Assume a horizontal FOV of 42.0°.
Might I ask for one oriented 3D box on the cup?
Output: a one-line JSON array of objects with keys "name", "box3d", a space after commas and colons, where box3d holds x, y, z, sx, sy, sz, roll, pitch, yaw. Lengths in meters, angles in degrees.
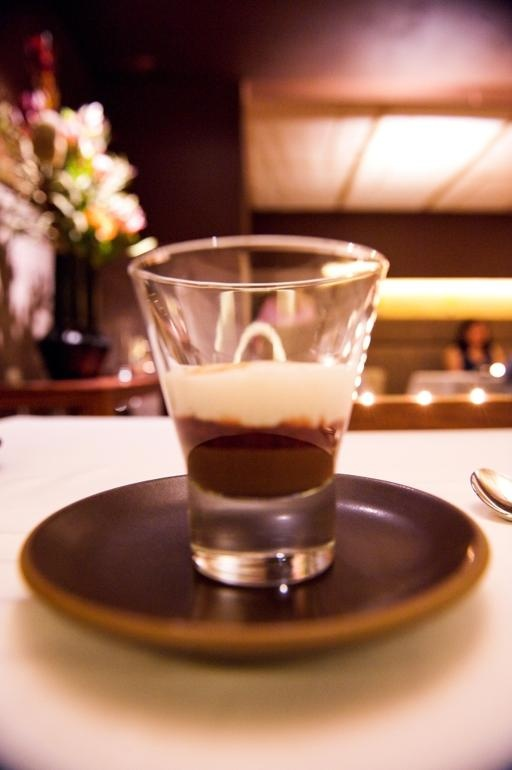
[{"name": "cup", "box3d": [0.001, 0.024, 0.360, 0.136, 0.146, 0.126, -1, -3, 0]}]
